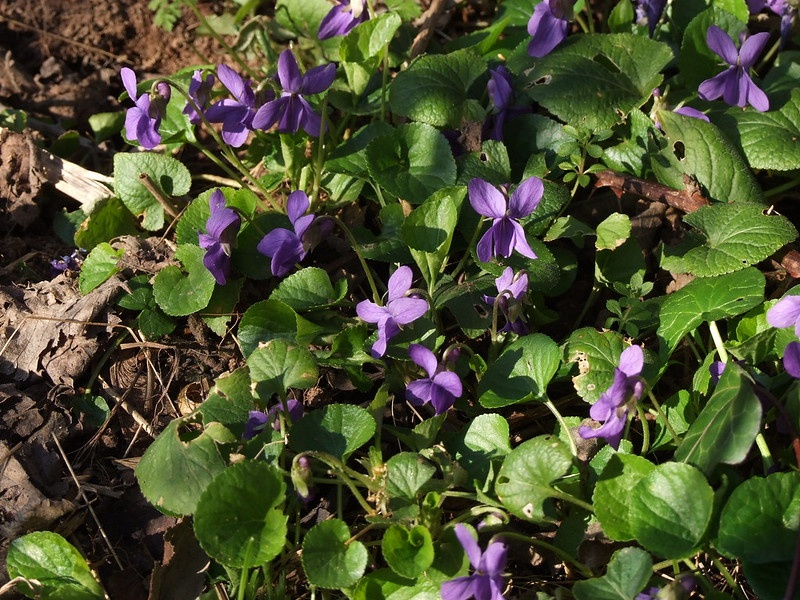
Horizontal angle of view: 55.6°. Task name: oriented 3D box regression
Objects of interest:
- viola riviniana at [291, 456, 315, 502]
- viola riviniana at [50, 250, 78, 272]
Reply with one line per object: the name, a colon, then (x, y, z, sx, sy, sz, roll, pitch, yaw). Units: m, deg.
viola riviniana: (-0.332, 0.611, 2.608, 0.071, 0.095, 0.214, 3, 18, -3)
viola riviniana: (-1.569, -0.169, 3.555, 0.103, 0.053, 0.108, -4, 8, 22)
